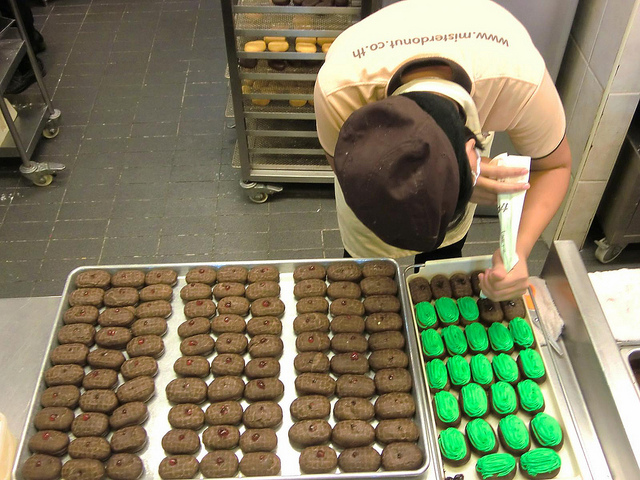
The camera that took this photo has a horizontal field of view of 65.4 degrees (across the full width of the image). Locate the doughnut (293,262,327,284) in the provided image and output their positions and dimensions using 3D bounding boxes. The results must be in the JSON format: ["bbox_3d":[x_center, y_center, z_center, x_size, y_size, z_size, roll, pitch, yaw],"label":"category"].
[{"bbox_3d":[-0.032,0.116,1.854,0.106,0.032,0.063,-5,48,-4],"label":"doughnut"}]

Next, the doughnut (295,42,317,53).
[{"bbox_3d":[-0.077,-1.120,2.883,0.108,0.026,0.056,-2,70,-5],"label":"doughnut"}]

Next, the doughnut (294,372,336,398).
[{"bbox_3d":[-0.011,0.471,1.630,0.135,0.055,0.069,5,51,6],"label":"doughnut"}]

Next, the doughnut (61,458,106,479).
[{"bbox_3d":[-0.708,0.683,1.484,0.133,0.030,0.059,-3,50,-2],"label":"doughnut"}]

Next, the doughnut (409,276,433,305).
[{"bbox_3d":[0.387,0.191,1.866,0.086,0.033,0.117,0,49,2],"label":"doughnut"}]

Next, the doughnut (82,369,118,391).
[{"bbox_3d":[-0.738,0.462,1.658,0.084,0.023,0.079,-9,35,-14],"label":"doughnut"}]

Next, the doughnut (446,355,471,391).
[{"bbox_3d":[0.484,0.440,1.691,0.084,0.043,0.127,-10,34,7],"label":"doughnut"}]

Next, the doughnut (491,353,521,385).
[{"bbox_3d":[0.640,0.428,1.696,0.106,0.040,0.132,0,36,2],"label":"doughnut"}]

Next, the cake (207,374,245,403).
[{"bbox_3d":[-0.303,0.491,1.652,0.131,0.055,0.087,-7,43,15],"label":"cake"}]

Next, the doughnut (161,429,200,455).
[{"bbox_3d":[-0.430,0.624,1.540,0.110,0.048,0.076,-2,50,0],"label":"doughnut"}]

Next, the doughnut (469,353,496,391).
[{"bbox_3d":[0.560,0.441,1.669,0.074,0.037,0.109,-5,51,4],"label":"doughnut"}]

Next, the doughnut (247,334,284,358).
[{"bbox_3d":[-0.186,0.359,1.707,0.119,0.046,0.084,-5,50,-3],"label":"doughnut"}]

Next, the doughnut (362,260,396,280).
[{"bbox_3d":[0.227,0.108,1.858,0.125,0.034,0.069,-2,50,-1],"label":"doughnut"}]

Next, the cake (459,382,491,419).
[{"bbox_3d":[0.511,0.518,1.606,0.095,0.036,0.107,-3,51,6],"label":"cake"}]

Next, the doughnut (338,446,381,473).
[{"bbox_3d":[0.125,0.657,1.494,0.132,0.051,0.076,0,50,2],"label":"doughnut"}]

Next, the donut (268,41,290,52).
[{"bbox_3d":[-0.234,-1.129,2.889,0.088,0.026,0.078,4,42,1],"label":"donut"}]

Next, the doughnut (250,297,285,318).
[{"bbox_3d":[-0.188,0.243,1.800,0.123,0.051,0.077,-9,50,-6],"label":"doughnut"}]

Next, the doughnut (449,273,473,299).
[{"bbox_3d":[0.543,0.172,1.863,0.073,0.030,0.088,-2,54,5],"label":"doughnut"}]

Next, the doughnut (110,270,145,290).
[{"bbox_3d":[-0.726,0.147,1.876,0.094,0.025,0.085,-1,46,-6],"label":"doughnut"}]

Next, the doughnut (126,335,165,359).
[{"bbox_3d":[-0.592,0.359,1.709,0.113,0.035,0.075,2,51,1],"label":"doughnut"}]

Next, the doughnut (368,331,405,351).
[{"bbox_3d":[0.232,0.344,1.704,0.122,0.039,0.065,0,50,2],"label":"doughnut"}]

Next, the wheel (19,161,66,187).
[{"bbox_3d":[-1.927,-0.465,3.565,0.390,0.172,0.134,0,50,-24],"label":"wheel"}]

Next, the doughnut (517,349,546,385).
[{"bbox_3d":[0.727,0.419,1.680,0.100,0.040,0.125,-2,45,-5],"label":"doughnut"}]

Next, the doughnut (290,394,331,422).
[{"bbox_3d":[-0.027,0.530,1.573,0.123,0.052,0.064,1,69,0],"label":"doughnut"}]

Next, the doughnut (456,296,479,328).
[{"bbox_3d":[0.551,0.256,1.820,0.089,0.032,0.111,8,44,5],"label":"doughnut"}]

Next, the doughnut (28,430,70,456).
[{"bbox_3d":[-0.836,0.625,1.536,0.116,0.051,0.072,11,52,11],"label":"doughnut"}]

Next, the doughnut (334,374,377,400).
[{"bbox_3d":[0.125,0.478,1.629,0.138,0.046,0.075,3,50,4],"label":"doughnut"}]

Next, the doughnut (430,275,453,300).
[{"bbox_3d":[0.463,0.173,1.865,0.071,0.029,0.086,-2,49,6],"label":"doughnut"}]

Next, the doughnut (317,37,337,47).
[{"bbox_3d":[0.047,-1.143,2.895,0.127,0.039,0.118,3,21,16],"label":"doughnut"}]

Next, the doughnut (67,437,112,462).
[{"bbox_3d":[-0.707,0.636,1.519,0.107,0.027,0.069,5,38,-5],"label":"doughnut"}]

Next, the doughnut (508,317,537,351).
[{"bbox_3d":[0.714,0.323,1.730,0.074,0.036,0.105,-19,58,2],"label":"doughnut"}]
